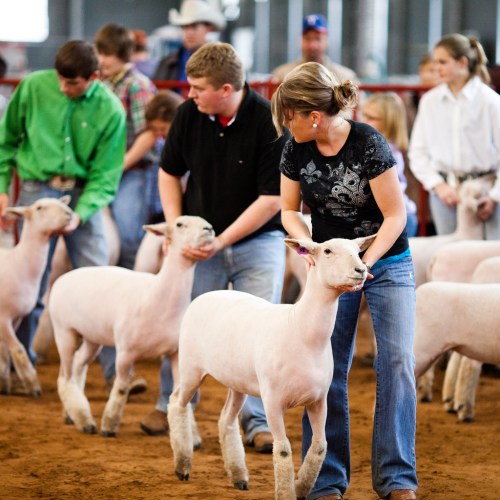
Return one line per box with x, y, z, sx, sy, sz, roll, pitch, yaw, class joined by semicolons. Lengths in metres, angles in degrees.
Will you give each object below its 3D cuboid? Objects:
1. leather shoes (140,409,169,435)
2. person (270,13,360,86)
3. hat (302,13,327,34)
-0.683;1.275;7.568;0.111;0.123;0.256;9;-11;-23;leather shoes
0.698;-2.111;11.260;0.920;0.878;0.513;5;20;10;person
0.695;-2.420;11.155;0.253;0.207;0.361;3;10;2;hat
